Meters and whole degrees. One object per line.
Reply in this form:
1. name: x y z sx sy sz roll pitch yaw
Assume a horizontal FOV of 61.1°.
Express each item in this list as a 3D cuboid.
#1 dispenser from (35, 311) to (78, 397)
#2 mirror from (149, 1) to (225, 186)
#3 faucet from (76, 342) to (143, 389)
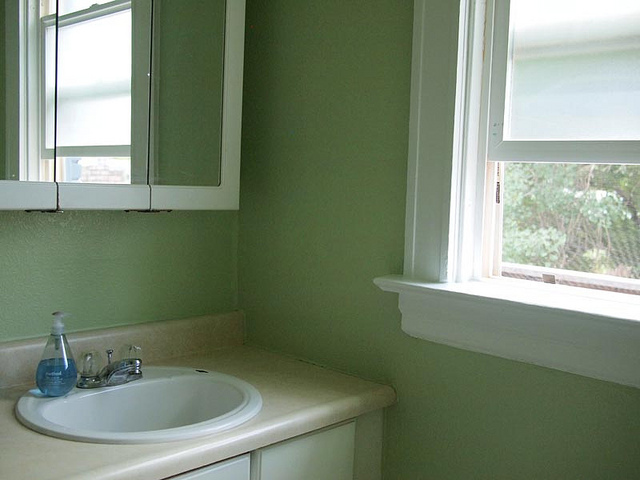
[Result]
1. dispenser: -0.702 0.303 1.433 0.094 0.226 0.078 -5 9 -29
2. mirror: -0.394 -0.447 1.619 0.052 0.564 0.281 5 10 38
3. faucet: -0.586 0.362 1.609 0.086 0.139 0.227 -1 -2 43
